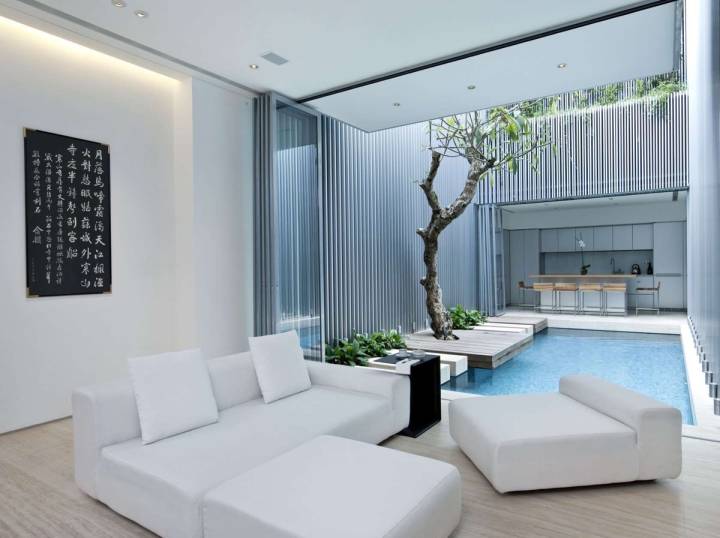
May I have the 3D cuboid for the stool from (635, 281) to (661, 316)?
[{"bbox_3d":[7.331,0.714,12.199,0.536,0.757,0.763,-3,3,32],"label":"stool"}]

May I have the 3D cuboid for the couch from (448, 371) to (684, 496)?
[{"bbox_3d":[1.500,1.254,3.667,1.469,0.583,0.753,-5,2,-3],"label":"couch"}]

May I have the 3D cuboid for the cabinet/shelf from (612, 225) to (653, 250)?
[{"bbox_3d":[7.329,-0.855,12.764,0.674,0.582,0.226,-2,-5,42],"label":"cabinet/shelf"}]

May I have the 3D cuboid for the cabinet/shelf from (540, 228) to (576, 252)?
[{"bbox_3d":[5.745,-0.824,13.822,1.087,0.800,0.567,-2,-3,43],"label":"cabinet/shelf"}]

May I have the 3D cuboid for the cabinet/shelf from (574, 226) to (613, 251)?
[{"bbox_3d":[6.544,-0.869,13.290,0.221,0.616,0.687,4,-4,-44],"label":"cabinet/shelf"}]
